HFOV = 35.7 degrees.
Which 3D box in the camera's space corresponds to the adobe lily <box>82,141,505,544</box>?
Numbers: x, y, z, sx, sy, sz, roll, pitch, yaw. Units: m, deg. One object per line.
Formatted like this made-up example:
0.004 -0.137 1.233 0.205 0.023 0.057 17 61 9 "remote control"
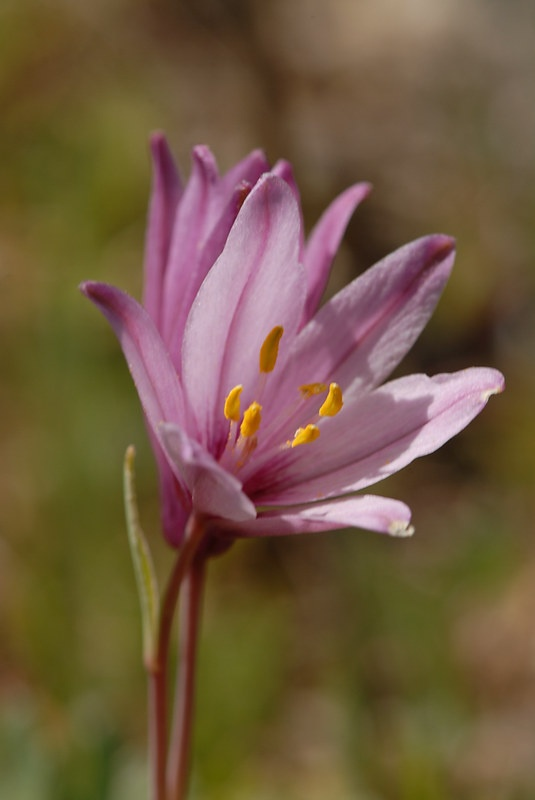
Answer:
0.021 -0.034 0.790 0.383 0.313 0.371 15 41 14 "adobe lily"
